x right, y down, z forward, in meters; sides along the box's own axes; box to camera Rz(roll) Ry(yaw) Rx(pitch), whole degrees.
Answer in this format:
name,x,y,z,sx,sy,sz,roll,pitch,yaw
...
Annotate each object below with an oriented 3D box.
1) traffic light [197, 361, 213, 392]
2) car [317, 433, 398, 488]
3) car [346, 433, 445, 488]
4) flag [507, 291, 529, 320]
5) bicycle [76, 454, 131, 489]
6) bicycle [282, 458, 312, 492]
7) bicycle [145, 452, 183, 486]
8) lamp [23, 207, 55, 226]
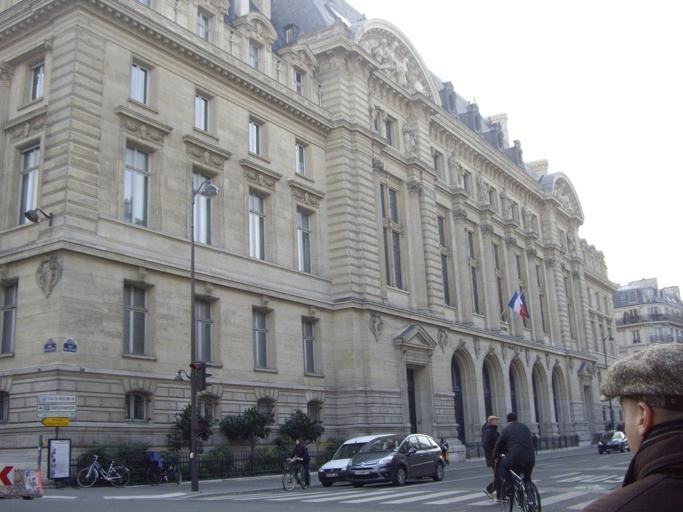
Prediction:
name,x,y,z,sx,sy,sz,roll,pitch,yaw
traffic light,-4.934,4.184,25.303,0.485,1.014,0.567,1,-20,-12
car,0.304,7.857,27.726,1.727,1.427,3.014,-12,-24,25
car,1.974,7.458,26.248,1.616,1.877,3.751,-20,-25,39
flag,13.911,3.947,57.065,0.287,2.320,2.124,-21,-71,41
bicycle,-8.534,7.854,25.775,1.895,1.125,0.822,-2,-7,-22
bicycle,-1.703,7.740,25.469,0.655,1.139,1.623,-8,-20,13
bicycle,-6.913,8.274,27.839,0.867,1.011,1.738,-17,-39,19
lamp,-12.011,-1.633,28.601,0.659,0.669,1.093,-2,-4,31
